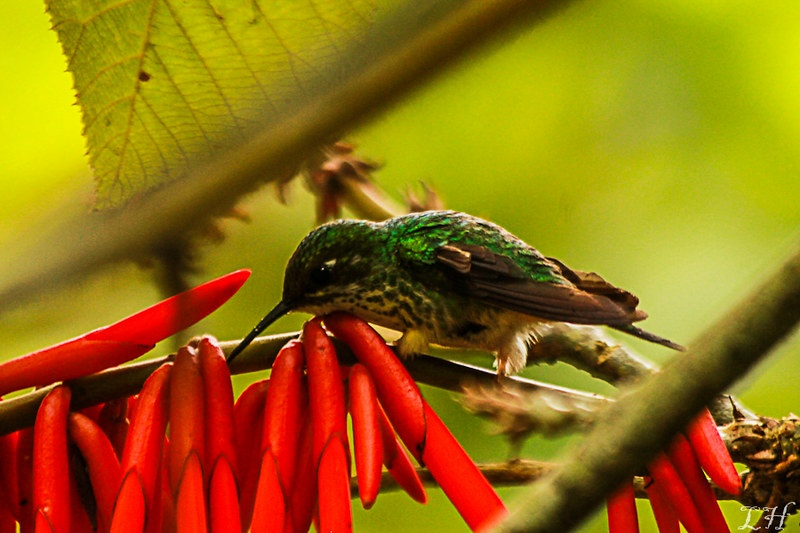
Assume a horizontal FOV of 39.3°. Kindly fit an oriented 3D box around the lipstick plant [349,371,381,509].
[{"bbox_3d":[-0.074,0.305,2.044,0.045,0.258,0.070,-17,-32,15],"label":"lipstick plant"}]

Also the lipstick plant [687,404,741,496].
[{"bbox_3d":[0.586,0.345,2.097,0.104,0.177,0.231,4,-26,17],"label":"lipstick plant"}]
